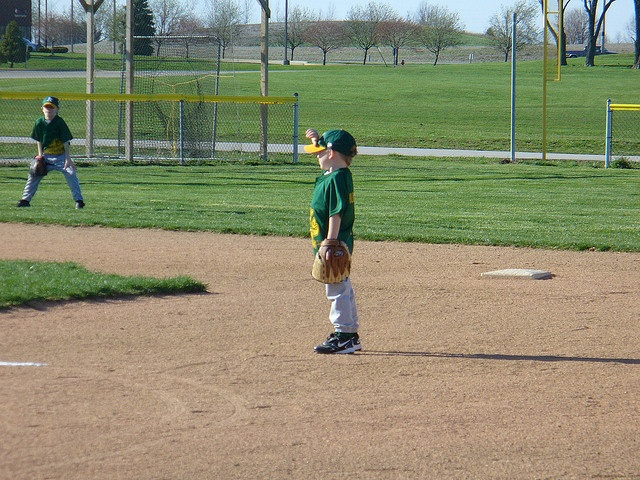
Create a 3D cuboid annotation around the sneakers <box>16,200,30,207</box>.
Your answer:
[{"bbox_3d":[-5.139,-0.634,19.163,0.243,0.120,0.172,-1,-35,-2],"label":"sneakers"}]

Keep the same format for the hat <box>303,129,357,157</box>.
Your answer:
[{"bbox_3d":[0.130,-1.177,13.073,0.515,0.210,0.319,5,30,13],"label":"hat"}]

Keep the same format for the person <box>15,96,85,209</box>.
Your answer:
[{"bbox_3d":[-4.730,-1.531,19.302,1.117,1.904,1.000,-3,10,-12],"label":"person"}]

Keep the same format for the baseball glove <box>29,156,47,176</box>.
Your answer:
[{"bbox_3d":[-4.821,-1.261,18.999,0.329,0.340,0.328,-6,11,-28],"label":"baseball glove"}]
